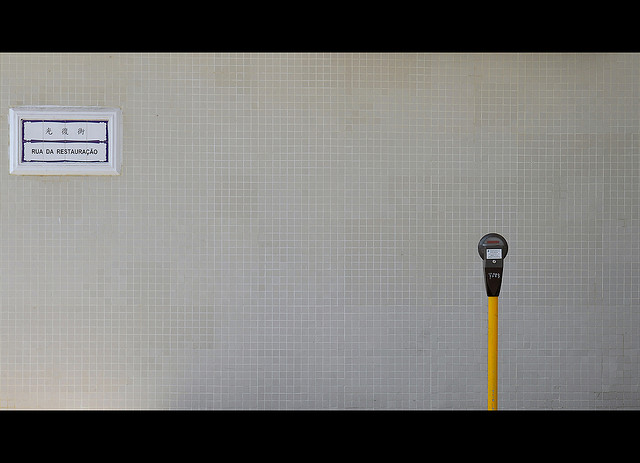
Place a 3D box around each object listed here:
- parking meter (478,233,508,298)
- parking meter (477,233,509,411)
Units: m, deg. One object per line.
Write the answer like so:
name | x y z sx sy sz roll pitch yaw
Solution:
parking meter | 0.962 0.184 5.081 0.158 0.359 0.089 -1 0 9
parking meter | 0.990 0.569 5.140 0.182 1.060 0.200 6 21 21
